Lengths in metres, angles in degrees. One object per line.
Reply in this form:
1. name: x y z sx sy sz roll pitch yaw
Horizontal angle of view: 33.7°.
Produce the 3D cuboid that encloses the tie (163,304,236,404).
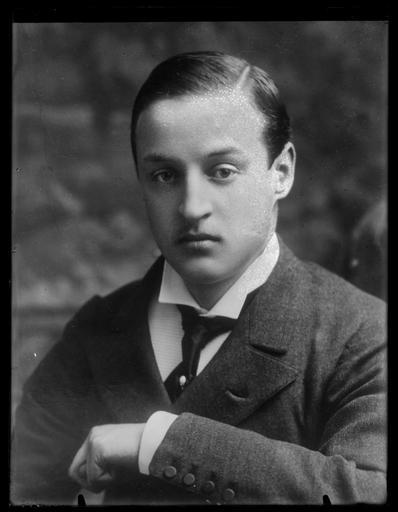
1. tie: -0.002 0.425 2.827 0.247 0.428 0.119 7 -11 23
